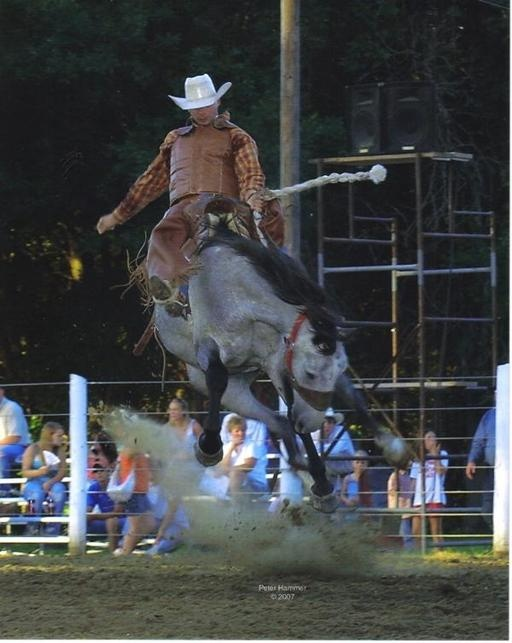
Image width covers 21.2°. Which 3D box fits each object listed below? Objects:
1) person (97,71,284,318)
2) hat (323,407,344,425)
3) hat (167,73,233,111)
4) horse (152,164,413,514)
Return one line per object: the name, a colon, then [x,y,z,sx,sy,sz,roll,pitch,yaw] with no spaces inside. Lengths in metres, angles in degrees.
person: [-0.350,-0.723,8.277,1.263,1.542,0.672,1,-25,2]
hat: [0.498,0.592,8.832,0.142,0.065,0.178,-15,-22,-1]
hat: [-0.342,-1.405,8.434,0.289,0.109,0.295,-15,16,8]
horse: [0.054,0.049,7.987,1.376,1.717,0.745,-2,-5,6]
